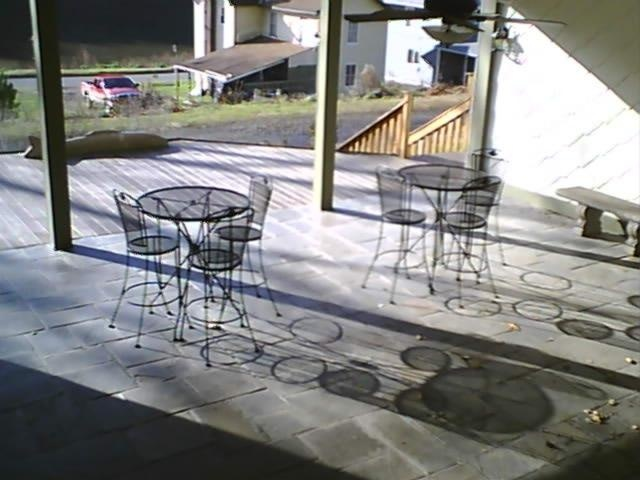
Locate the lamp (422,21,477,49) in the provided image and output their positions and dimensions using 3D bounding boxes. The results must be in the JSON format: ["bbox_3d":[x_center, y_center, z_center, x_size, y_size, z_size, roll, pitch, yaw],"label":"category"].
[{"bbox_3d":[1.124,-1.715,4.223,0.478,0.105,0.377,3,16,1],"label":"lamp"}]
